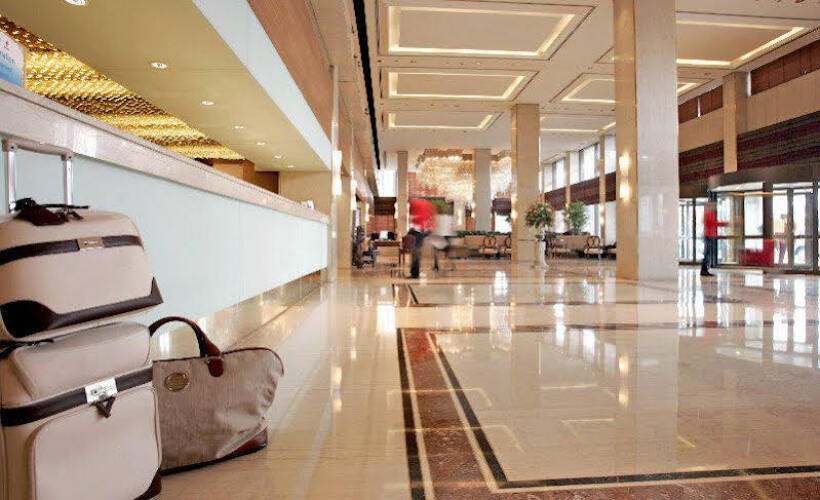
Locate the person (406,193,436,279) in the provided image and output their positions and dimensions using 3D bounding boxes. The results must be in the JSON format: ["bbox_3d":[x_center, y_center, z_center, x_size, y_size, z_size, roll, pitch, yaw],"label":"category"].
[{"bbox_3d":[0.255,-0.290,10.781,0.586,1.553,0.390,-1,7,-13],"label":"person"}]

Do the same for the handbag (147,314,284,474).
[{"bbox_3d":[-1.074,0.805,2.866,0.791,0.621,0.298,-1,-14,-31],"label":"handbag"}]

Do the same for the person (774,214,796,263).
[{"bbox_3d":[7.424,-0.243,10.350,0.136,1.096,0.226,-3,1,-8],"label":"person"}]

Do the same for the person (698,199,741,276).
[{"bbox_3d":[6.190,-0.222,10.740,0.498,1.535,3.166,5,12,29],"label":"person"}]

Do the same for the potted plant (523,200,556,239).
[{"bbox_3d":[3.168,-0.719,13.072,0.622,0.910,0.909,0,11,5],"label":"potted plant"}]

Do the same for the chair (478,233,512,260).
[{"bbox_3d":[3.152,-0.132,19.662,0.953,1.136,0.985,0,-13,3],"label":"chair"}]
